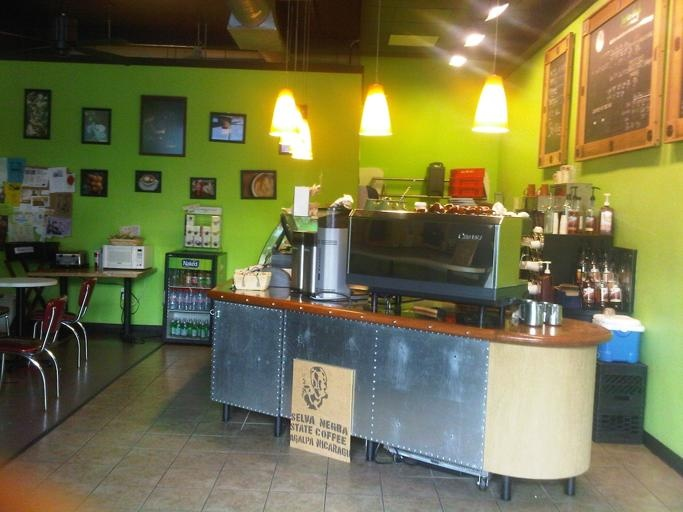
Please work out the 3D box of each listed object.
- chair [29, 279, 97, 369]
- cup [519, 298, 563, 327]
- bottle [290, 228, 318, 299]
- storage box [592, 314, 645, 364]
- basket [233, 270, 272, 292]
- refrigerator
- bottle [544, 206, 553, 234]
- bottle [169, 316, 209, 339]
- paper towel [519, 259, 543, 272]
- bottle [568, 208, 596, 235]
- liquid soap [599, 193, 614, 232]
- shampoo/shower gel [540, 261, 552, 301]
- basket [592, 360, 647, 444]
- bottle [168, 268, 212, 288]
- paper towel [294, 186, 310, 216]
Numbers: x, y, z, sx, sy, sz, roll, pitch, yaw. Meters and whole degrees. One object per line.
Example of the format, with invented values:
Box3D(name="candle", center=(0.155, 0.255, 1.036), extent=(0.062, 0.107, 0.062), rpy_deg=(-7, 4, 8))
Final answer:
Box3D(name="chair", center=(-3.181, 0.724, 6.727), extent=(0.615, 0.933, 0.534), rpy_deg=(6, 0, -9))
Box3D(name="cup", center=(1.485, 0.428, 4.409), extent=(0.307, 0.181, 0.189), rpy_deg=(5, 11, 16))
Box3D(name="bottle", center=(-0.311, 0.071, 5.120), extent=(0.126, 0.543, 0.314), rpy_deg=(-6, 13, -36))
Box3D(name="storage box", center=(2.595, 0.738, 5.593), extent=(0.380, 0.396, 0.543), rpy_deg=(2, 10, 8))
Box3D(name="basket", center=(-0.813, 0.226, 5.280), extent=(0.254, 0.143, 0.181), rpy_deg=(1, 1, 6))
Box3D(name="refrigerator", center=(-1.997, 0.523, 7.999), extent=(0.736, 1.191, 0.739), rpy_deg=(4, 6, 8))
Box3D(name="bottle", center=(2.087, -0.342, 5.965), extent=(0.074, 0.211, 0.104), rpy_deg=(2, 11, 1))
Box3D(name="bottle", center=(-1.977, 0.925, 7.583), extent=(0.499, 0.269, 0.315), rpy_deg=(3, -2, -2))
Box3D(name="paper towel", center=(1.850, 0.099, 5.765), extent=(0.221, 0.112, 0.170), rpy_deg=(7, 12, 27))
Box3D(name="bottle", center=(2.390, -0.343, 5.904), extent=(0.269, 0.231, 0.142), rpy_deg=(4, 11, 10))
Box3D(name="liquid soap", center=(2.647, -0.415, 5.883), extent=(0.131, 0.394, 0.210), rpy_deg=(8, 12, 32))
Box3D(name="shampoo/shower gel", center=(1.840, 0.232, 5.303), extent=(0.098, 0.383, 0.201), rpy_deg=(8, 12, 29))
Box3D(name="basket", center=(2.543, 1.316, 5.615), extent=(0.560, 1.014, 1.064), rpy_deg=(-1, -8, 24))
Box3D(name="bottle", center=(-1.977, 0.292, 7.556), extent=(0.479, 0.258, 0.321), rpy_deg=(3, 4, 0))
Box3D(name="paper towel", center=(-0.388, -0.504, 5.581), extent=(0.133, 0.289, 0.250), rpy_deg=(0, 11, -9))
